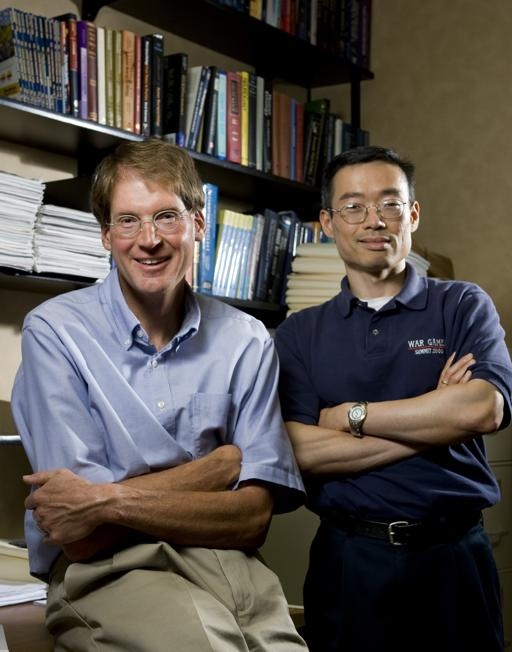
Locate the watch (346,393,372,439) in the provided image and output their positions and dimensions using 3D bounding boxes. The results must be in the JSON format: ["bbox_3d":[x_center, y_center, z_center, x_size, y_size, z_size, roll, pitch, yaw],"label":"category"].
[{"bbox_3d":[0.200,0.182,1.108,0.045,0.062,0.067,0,35,26],"label":"watch"}]
